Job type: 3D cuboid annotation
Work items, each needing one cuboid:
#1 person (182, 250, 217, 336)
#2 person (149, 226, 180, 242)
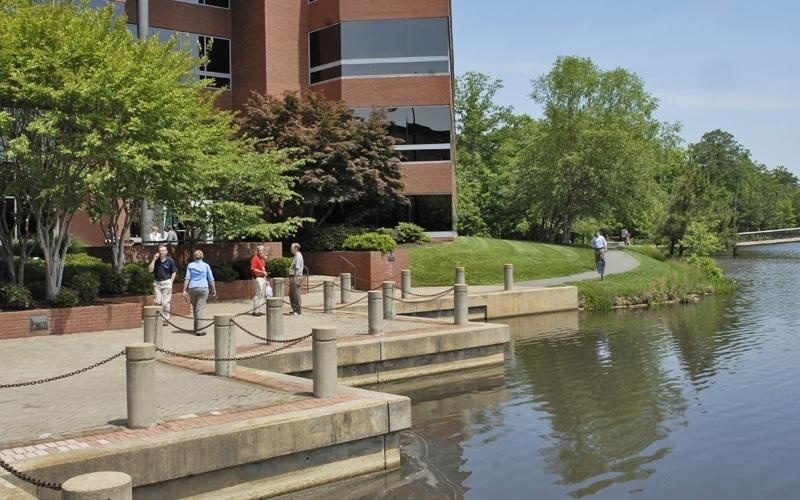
[{"bbox_3d":[-6.048,1.294,22.155,0.841,2.637,1.345,-1,0,-16],"label":"person"},{"bbox_3d":[-11.334,-0.694,34.805,1.494,0.701,1.096,-3,-2,28],"label":"person"}]
